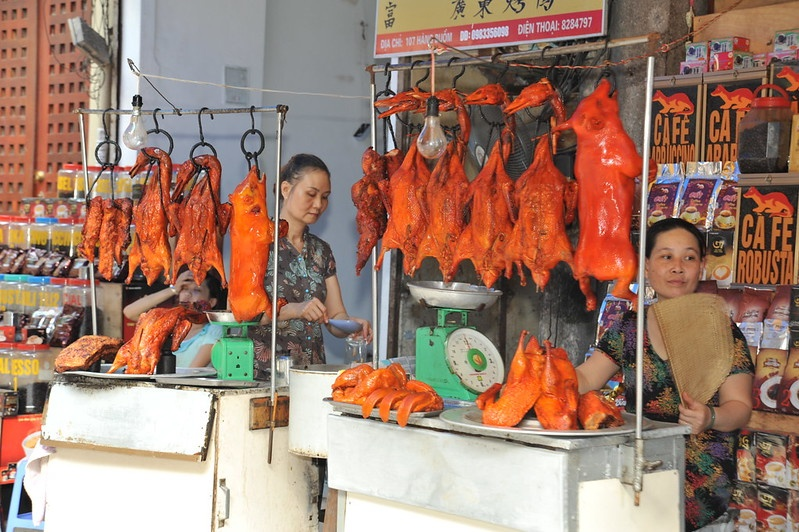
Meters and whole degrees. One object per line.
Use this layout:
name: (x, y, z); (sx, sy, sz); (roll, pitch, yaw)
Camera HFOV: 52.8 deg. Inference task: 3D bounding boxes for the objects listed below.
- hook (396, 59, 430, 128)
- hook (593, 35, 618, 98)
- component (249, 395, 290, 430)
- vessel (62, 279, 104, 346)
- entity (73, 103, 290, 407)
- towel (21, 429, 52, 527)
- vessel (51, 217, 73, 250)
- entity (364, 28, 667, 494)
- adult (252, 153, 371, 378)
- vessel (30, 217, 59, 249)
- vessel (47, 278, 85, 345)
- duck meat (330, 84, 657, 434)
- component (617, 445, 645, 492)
hook: (0.074, -0.790, 3.831); (0.213, 0.257, 0.115); (-13, -5, 1)
hook: (0.903, -0.847, 3.525); (0.114, 0.256, 0.056); (-1, 14, -15)
component: (-0.611, 0.712, 3.898); (0.310, 0.159, 0.044); (-12, -19, 44)
vessel: (-2.192, 0.335, 5.786); (0.330, 0.474, 0.312); (-8, -1, -14)
entity: (-1.002, -0.070, 4.088); (0.743, 1.483, 1.026); (2, -3, -38)
towel: (-1.919, 1.124, 4.266); (0.128, 0.519, 0.619); (1, -3, -26)
vessel: (-2.534, -0.241, 6.063); (0.212, 0.226, 0.206); (1, -6, -6)
entity: (0.520, -0.153, 3.925); (1.336, 2.100, 1.770); (0, -2, 11)
adult: (-0.545, 0.194, 4.621); (0.528, 1.495, 0.673); (1, 7, -36)
vessel: (-2.730, -0.236, 6.160); (0.244, 0.259, 0.238); (0, -5, 3)
vessel: (-2.289, 0.330, 5.559); (0.266, 0.379, 0.092); (1, -26, 4)
duck meat: (0.506, -0.206, 3.383); (0.696, 2.036, 0.753); (4, -7, 36)
component: (0.868, 0.759, 3.037); (0.084, 0.170, 0.041); (-1, -3, 18)
